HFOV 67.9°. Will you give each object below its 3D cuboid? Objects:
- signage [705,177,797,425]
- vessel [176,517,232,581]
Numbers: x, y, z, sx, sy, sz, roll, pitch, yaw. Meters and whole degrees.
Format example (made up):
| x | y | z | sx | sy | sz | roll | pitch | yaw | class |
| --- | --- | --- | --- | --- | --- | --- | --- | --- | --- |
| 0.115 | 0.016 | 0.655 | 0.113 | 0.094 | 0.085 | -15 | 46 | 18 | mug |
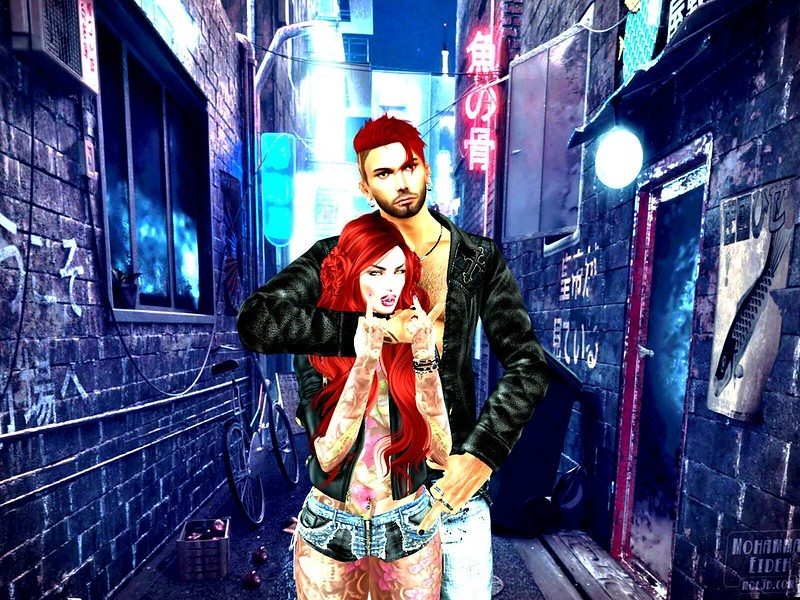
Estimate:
| x | y | z | sx | sy | sz | roll | pitch | yaw | class |
| --- | --- | --- | --- | --- | --- | --- | --- | --- | --- |
| 2.668 | 0.027 | 4.511 | 0.115 | 1.717 | 0.904 | 2 | -11 | -18 | signage |
| -1.875 | 2.356 | 5.737 | 0.489 | 0.372 | 0.492 | -1 | 6 | -6 | vessel |
